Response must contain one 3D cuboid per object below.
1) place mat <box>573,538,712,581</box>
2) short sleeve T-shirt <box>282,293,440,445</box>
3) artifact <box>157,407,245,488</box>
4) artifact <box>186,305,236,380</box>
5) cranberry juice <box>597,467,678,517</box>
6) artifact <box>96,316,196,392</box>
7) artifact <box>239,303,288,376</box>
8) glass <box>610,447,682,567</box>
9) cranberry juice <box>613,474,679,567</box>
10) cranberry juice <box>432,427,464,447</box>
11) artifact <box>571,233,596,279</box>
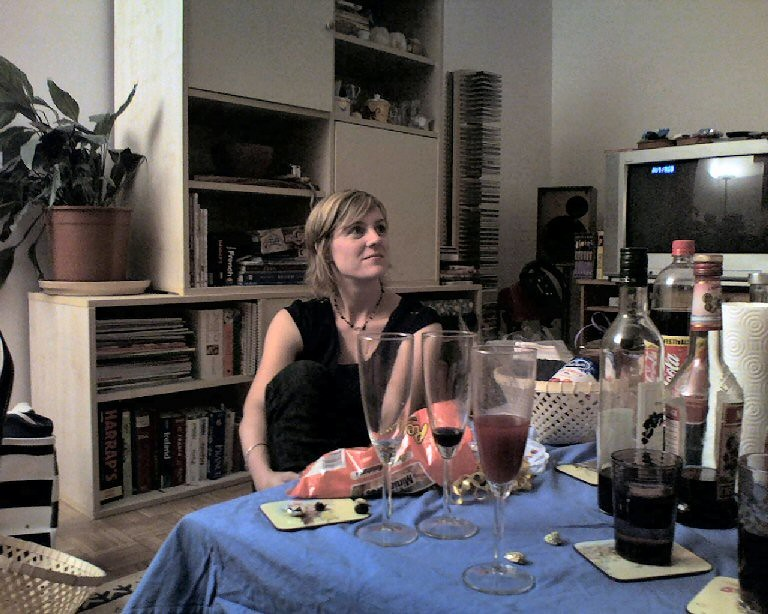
[{"bbox_3d":[0.325,0.314,0.860,0.144,0.006,0.151,-3,-2,2],"label":"place mat"},{"bbox_3d":[-0.084,0.164,1.867,0.433,0.408,0.251,4,0,13],"label":"short sleeve T-shirt"},{"bbox_3d":[-0.704,0.459,2.660,0.400,0.372,0.223,1,-4,-43],"label":"artifact"},{"bbox_3d":[-0.692,0.129,2.679,0.230,0.402,0.232,-2,4,-18],"label":"artifact"},{"bbox_3d":[0.346,0.242,0.941,0.072,0.056,0.077,0,-3,-3],"label":"cranberry juice"},{"bbox_3d":[-0.908,0.168,2.490,0.385,0.230,0.241,2,-12,-44],"label":"artifact"},{"bbox_3d":[-0.495,0.119,2.635,0.268,0.254,0.072,2,-1,-2],"label":"artifact"},{"bbox_3d":[0.326,0.249,0.858,0.086,0.125,0.080,0,5,8],"label":"glass"},{"bbox_3d":[0.326,0.253,0.857,0.084,0.118,0.076,-1,-5,10],"label":"cranberry juice"},{"bbox_3d":[0.083,0.166,0.883,0.030,0.015,0.030,0,-16,2],"label":"cranberry juice"},{"bbox_3d":[1.147,-0.292,3.883,0.112,0.238,0.167,2,15,13],"label":"artifact"}]
